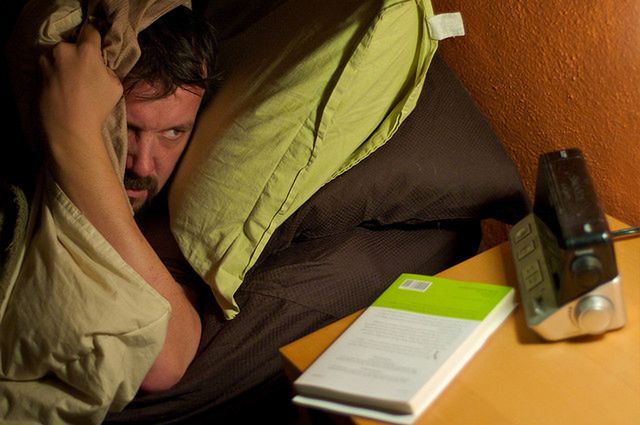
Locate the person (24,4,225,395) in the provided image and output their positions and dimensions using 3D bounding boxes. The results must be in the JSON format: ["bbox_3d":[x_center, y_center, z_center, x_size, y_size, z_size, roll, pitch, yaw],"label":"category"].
[{"bbox_3d":[-0.416,-0.053,1.423,0.240,0.855,0.501,-1,-15,-39],"label":"person"}]

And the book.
[{"bbox_3d":[0.170,0.251,1.107,0.234,0.050,0.373,7,40,42],"label":"book"}]
